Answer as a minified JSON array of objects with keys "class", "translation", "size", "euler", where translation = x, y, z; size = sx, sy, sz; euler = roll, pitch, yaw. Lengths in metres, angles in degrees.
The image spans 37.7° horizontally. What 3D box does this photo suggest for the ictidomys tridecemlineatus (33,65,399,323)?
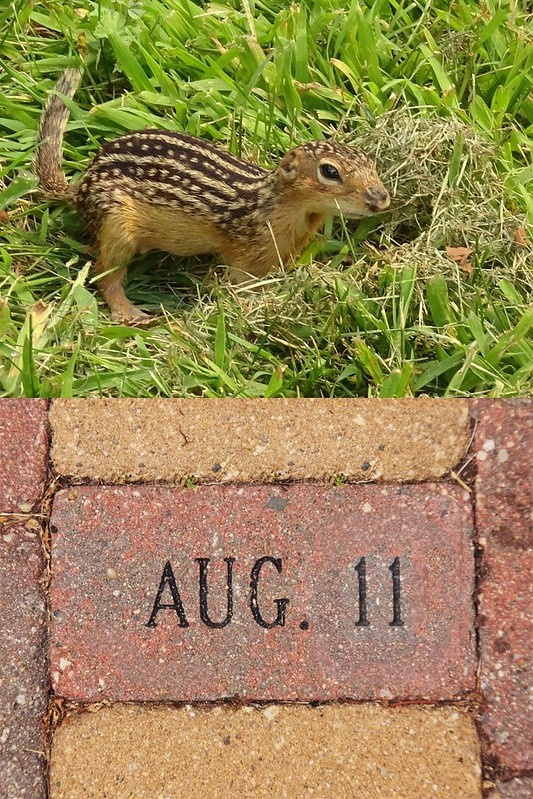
[{"class":"ictidomys tridecemlineatus","translation":[-0.141,-0.542,1.986],"size":[0.930,0.578,0.390],"euler":[5,47,-1]}]
